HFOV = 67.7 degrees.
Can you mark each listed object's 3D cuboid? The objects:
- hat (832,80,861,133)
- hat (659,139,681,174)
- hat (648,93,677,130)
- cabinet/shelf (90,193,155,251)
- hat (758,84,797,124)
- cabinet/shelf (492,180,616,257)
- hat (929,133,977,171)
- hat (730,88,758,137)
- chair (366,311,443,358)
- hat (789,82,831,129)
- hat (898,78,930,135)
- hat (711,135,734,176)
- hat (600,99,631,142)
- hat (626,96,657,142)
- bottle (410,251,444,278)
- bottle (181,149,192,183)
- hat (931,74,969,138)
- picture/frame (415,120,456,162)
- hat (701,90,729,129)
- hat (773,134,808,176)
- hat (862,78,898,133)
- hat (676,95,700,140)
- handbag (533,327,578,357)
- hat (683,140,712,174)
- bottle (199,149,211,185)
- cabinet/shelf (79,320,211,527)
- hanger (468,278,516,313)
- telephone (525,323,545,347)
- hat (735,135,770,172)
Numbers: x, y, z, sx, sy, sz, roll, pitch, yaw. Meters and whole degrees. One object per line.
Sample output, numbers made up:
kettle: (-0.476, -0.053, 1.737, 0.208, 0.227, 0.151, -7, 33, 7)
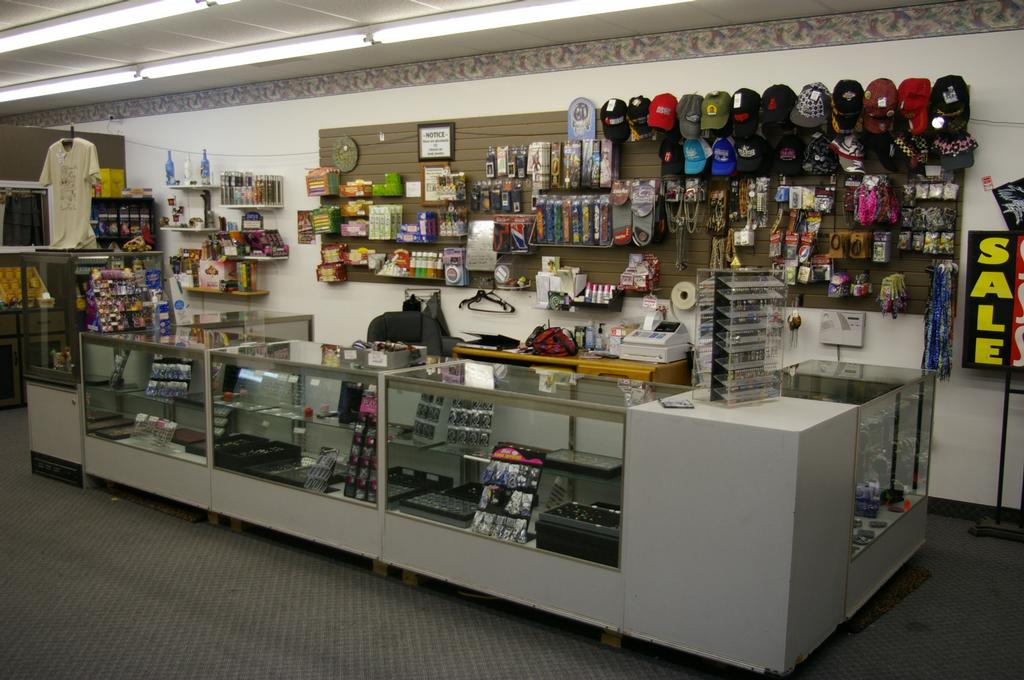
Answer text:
hat: (2.787, -1.946, 6.371, 0.264, 0.410, 0.211, 5, 4, 17)
hat: (1.508, -1.715, 7.173, 0.200, 0.307, 0.158, 10, -1, 25)
hat: (1.392, -2.094, 7.059, 0.264, 0.330, 0.193, 2, 14, 8)
cabinet/shelf: (-5.509, -1.568, 11.046, 1.146, 1.071, 0.385, 3, 8, 17)
hat: (2.295, -2.020, 6.589, 0.236, 0.355, 0.179, 1, -36, 42)
cabinet/shelf: (0.413, -1.150, 7.713, 1.307, 0.589, 0.166, 8, 15, 28)
hat: (3.614, -1.535, 6.239, 0.326, 0.285, 0.172, 8, 15, 28)
hat: (2.067, -1.972, 6.744, 0.253, 0.394, 0.205, 9, -5, 21)
chair: (-1.133, -0.105, 8.104, 0.532, 0.600, 0.705, 0, 13, -5)
hat: (2.573, -2.008, 6.560, 0.309, 0.373, 0.253, 8, 15, 28)
hat: (3.260, -1.881, 6.172, 0.269, 0.430, 0.115, 7, 22, 34)
hat: (1.928, -1.654, 6.916, 0.216, 0.334, 0.172, 9, -28, 24)
hat: (0.993, -2.091, 7.341, 0.298, 0.418, 0.207, 4, 14, 17)
hat: (1.210, -2.059, 7.203, 0.251, 0.399, 0.239, -17, -24, 14)
bottle: (-0.953, -0.836, 8.533, 0.452, 0.280, 0.139, 8, 15, 28)
bottle: (-4.475, -2.342, 10.475, 0.146, 0.430, 0.571, -5, 15, -22)
hat: (3.516, -1.852, 6.099, 0.292, 0.450, 0.152, 2, 9, 24)
picture/frame: (-0.833, -2.189, 8.422, 0.487, 0.418, 0.047, 3, 6, 31)
hat: (1.828, -2.050, 6.821, 0.218, 0.336, 0.163, 11, -18, 30)
hat: (2.429, -1.600, 6.686, 0.243, 0.345, 0.125, 10, 7, 29)
hat: (3.015, -1.903, 6.290, 0.277, 0.441, 0.232, 14, 7, 22)
hat: (1.583, -2.016, 6.924, 0.236, 0.356, 0.208, 3, -17, 12)
handbag: (0.407, 0.046, 7.456, 0.311, 0.220, 0.313, 0, -2, 34)
hat: (1.687, -1.673, 6.993, 0.207, 0.307, 0.160, 10, -13, 34)
bottle: (-4.136, -2.321, 10.304, 0.139, 0.469, 0.304, -5, 14, -20)
cabinet/shelf: (-3.086, 0.715, 6.447, 1.524, 1.241, 0.533, 7, 12, 32)
hanger: (-0.275, -0.472, 8.292, 0.662, 0.366, 0.139, 11, 17, 36)
telephone: (0.228, -0.050, 7.712, 0.062, 0.232, 0.139, 35, -11, 7)
hat: (2.150, -1.648, 6.834, 0.257, 0.326, 0.193, 12, 18, 41)
